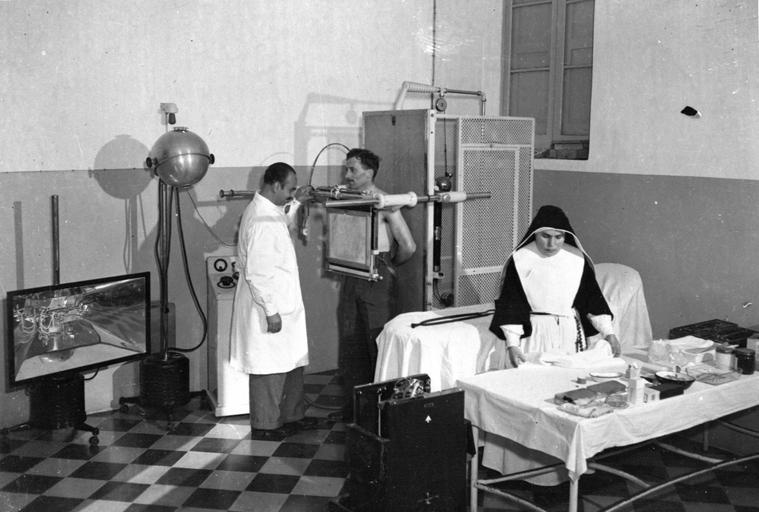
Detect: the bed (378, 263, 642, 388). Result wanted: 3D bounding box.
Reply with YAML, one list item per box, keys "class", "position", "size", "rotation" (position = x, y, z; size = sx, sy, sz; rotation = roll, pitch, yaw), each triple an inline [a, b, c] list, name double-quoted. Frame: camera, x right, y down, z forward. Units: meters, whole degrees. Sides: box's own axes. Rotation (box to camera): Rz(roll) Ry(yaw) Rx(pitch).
- class: "bed"
  position: [1.042, 0.669, 6.056]
  size: [1.751, 0.698, 1.042]
  rotation: [-6, 7, -19]

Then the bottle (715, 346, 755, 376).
- class: "bottle"
  position: [2.492, 0.737, 5.019]
  size: [0.279, 0.182, 0.163]
  rotation: [1, 1, 32]
